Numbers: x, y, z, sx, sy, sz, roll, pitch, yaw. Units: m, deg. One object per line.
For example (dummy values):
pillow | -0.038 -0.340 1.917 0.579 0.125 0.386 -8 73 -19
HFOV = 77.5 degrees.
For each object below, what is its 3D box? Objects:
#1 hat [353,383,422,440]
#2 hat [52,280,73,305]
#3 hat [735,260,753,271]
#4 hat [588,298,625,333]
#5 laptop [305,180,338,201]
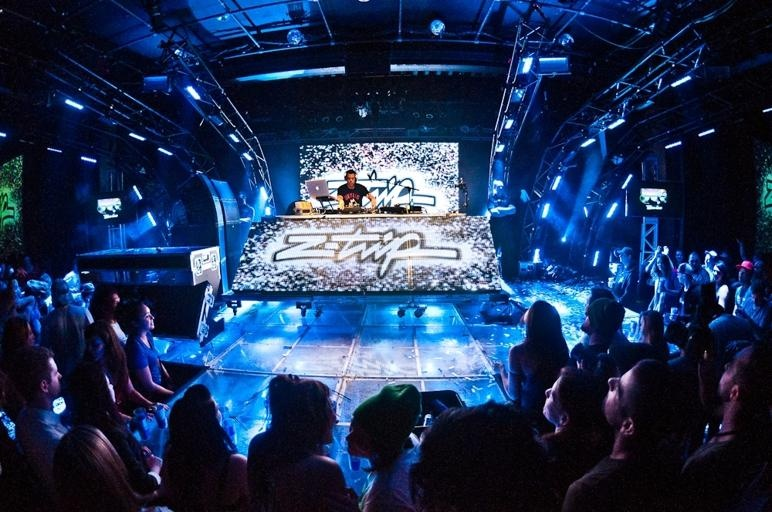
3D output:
hat | 0.003 1.898 6.169 0.828 0.570 0.552 17 15 -10
hat | -5.752 0.656 8.503 0.423 0.475 0.242 2 3 21
hat | 7.506 0.199 10.071 0.313 0.156 0.201 10 -10 -18
hat | 3.333 0.922 7.401 0.406 0.520 0.475 14 -21 -4
laptop | -1.433 -1.400 10.249 0.530 0.436 0.502 0 3 -11
